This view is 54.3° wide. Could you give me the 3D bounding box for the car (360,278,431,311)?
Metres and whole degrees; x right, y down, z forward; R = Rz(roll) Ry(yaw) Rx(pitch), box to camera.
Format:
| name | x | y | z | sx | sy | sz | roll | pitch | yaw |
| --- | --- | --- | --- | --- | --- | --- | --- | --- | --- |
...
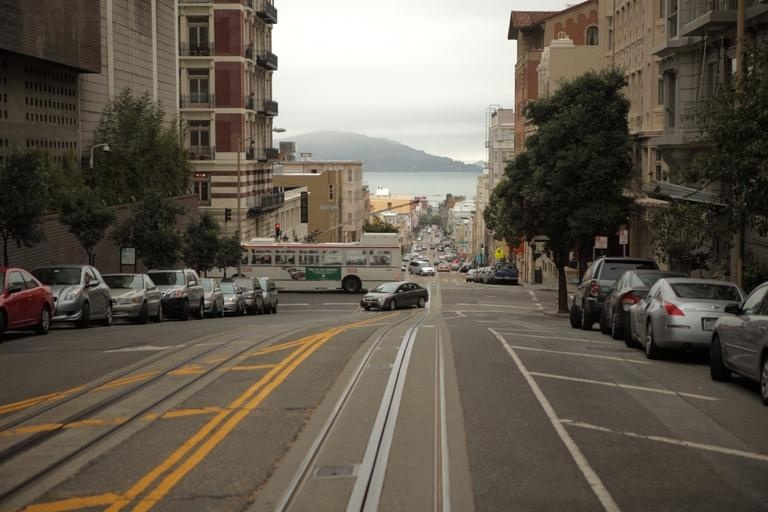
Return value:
| name | x | y | z | sx | sy | sz | roll | pitch | yaw |
| --- | --- | --- | --- | --- | --- | --- | --- | --- | --- |
| car | 0.440 | 2.284 | 42.616 | 1.573 | 1.577 | 3.767 | 0 | 0 | 37 |
